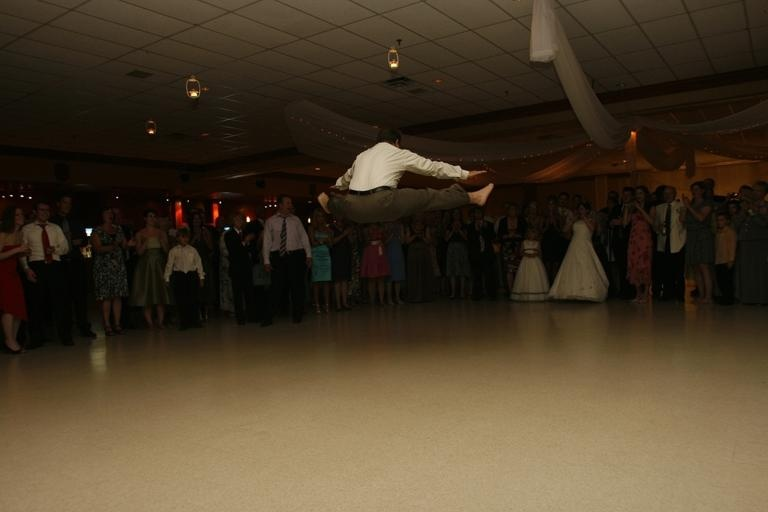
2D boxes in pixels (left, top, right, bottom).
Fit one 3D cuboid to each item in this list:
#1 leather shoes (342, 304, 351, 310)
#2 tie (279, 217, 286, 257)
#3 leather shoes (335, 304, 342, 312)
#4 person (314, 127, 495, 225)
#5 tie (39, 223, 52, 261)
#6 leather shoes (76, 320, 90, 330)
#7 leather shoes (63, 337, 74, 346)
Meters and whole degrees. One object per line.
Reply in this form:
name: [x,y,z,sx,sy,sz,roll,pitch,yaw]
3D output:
leather shoes: [-0.600,0.907,9.990,0.144,0.094,0.318,-1,12,-2]
tie: [-1.448,-0.323,8.484,0.112,0.533,0.186,-1,12,-3]
leather shoes: [-0.720,0.919,9.884,0.082,0.099,0.230,-2,-11,0]
person: [0.146,-0.864,5.678,1.817,0.836,1.014,9,25,21]
tie: [-4.234,-0.174,7.215,0.096,0.469,0.115,-10,15,-38]
leather shoes: [-4.138,0.986,7.983,0.105,0.157,0.163,6,14,31]
leather shoes: [-4.026,1.119,7.330,0.131,0.111,0.134,-7,13,-26]
